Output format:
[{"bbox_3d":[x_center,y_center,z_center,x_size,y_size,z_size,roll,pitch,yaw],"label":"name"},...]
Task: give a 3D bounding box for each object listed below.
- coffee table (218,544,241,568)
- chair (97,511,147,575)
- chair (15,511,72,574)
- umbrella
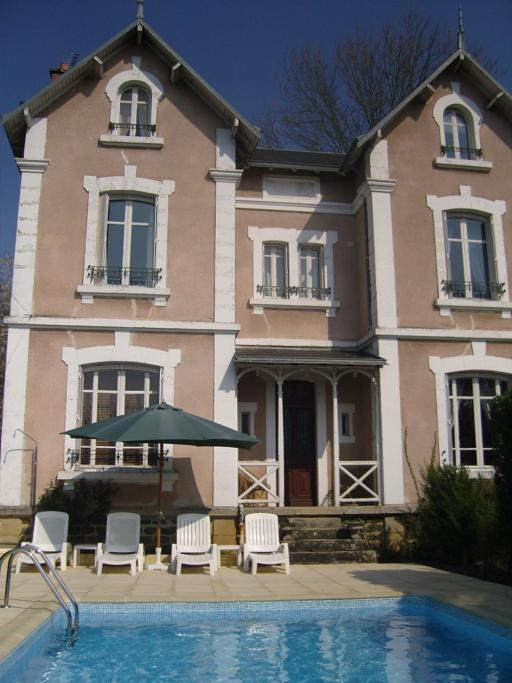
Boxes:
[{"bbox_3d":[-0.474,3.748,11.969,0.481,0.398,0.485,0,-11,-6],"label":"coffee table"},{"bbox_3d":[-2.194,3.233,10.952,0.620,0.729,0.983,0,-18,-5],"label":"chair"},{"bbox_3d":[-3.367,3.164,10.678,0.729,0.768,1.054,1,-5,4],"label":"chair"},{"bbox_3d":[-1.530,2.166,10.703,2.094,2.394,2.289,-5,-9,42],"label":"umbrella"}]
